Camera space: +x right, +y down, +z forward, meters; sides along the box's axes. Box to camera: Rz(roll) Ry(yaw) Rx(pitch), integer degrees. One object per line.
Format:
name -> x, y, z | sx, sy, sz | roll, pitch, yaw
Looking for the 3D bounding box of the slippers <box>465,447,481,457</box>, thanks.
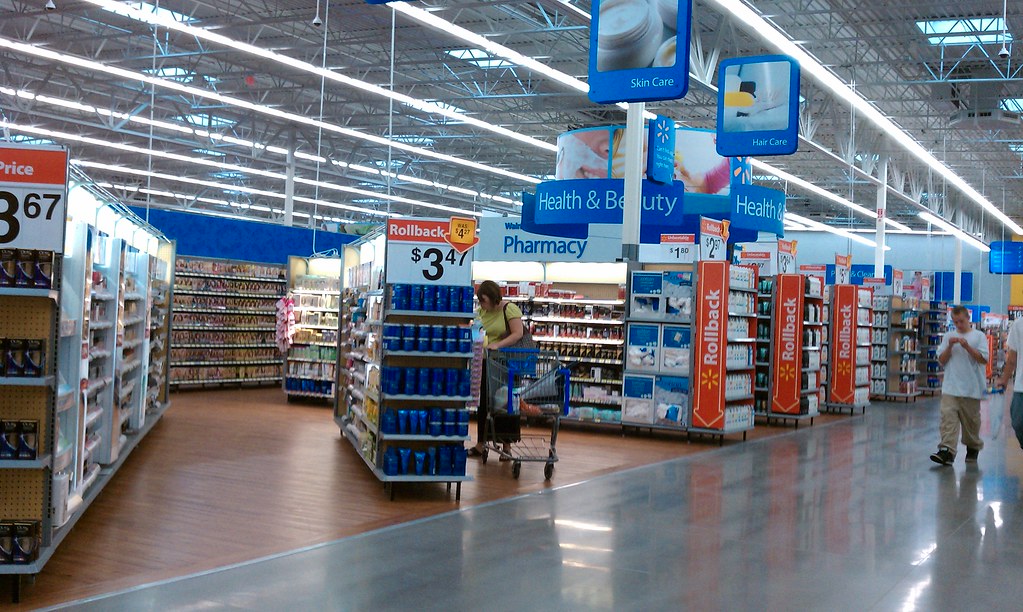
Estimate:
slippers -> -0.553, 2.041, 11.394 | 0.151, 0.034, 0.139 | -4, 38, 15
